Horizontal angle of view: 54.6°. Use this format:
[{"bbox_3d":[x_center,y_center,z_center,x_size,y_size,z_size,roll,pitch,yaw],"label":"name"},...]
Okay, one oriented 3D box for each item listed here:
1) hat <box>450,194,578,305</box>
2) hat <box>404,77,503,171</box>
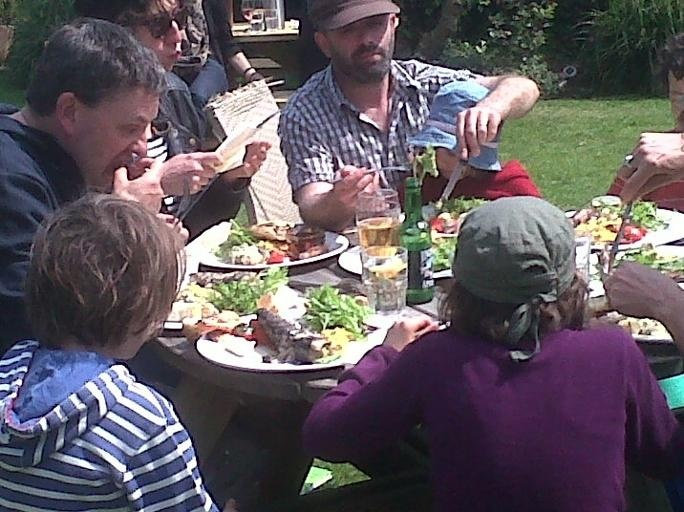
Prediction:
[{"bbox_3d":[0.411,-0.028,1.643,0.351,0.203,0.341,0,15,28],"label":"hat"},{"bbox_3d":[0.634,-0.653,3.345,0.442,0.275,0.436,37,25,33],"label":"hat"}]
